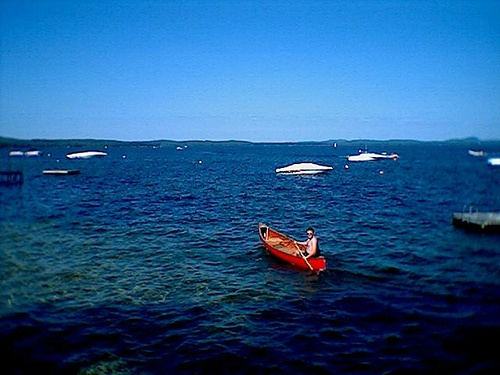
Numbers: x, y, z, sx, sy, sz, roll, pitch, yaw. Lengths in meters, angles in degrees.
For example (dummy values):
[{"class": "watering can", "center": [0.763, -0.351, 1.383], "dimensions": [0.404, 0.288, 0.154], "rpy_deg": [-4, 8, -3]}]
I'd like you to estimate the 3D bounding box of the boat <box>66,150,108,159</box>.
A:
[{"class": "boat", "center": [-56.569, -11.111, 166.314], "dimensions": [3.904, 3.198, 18.914], "rpy_deg": [3, 11, 15]}]
